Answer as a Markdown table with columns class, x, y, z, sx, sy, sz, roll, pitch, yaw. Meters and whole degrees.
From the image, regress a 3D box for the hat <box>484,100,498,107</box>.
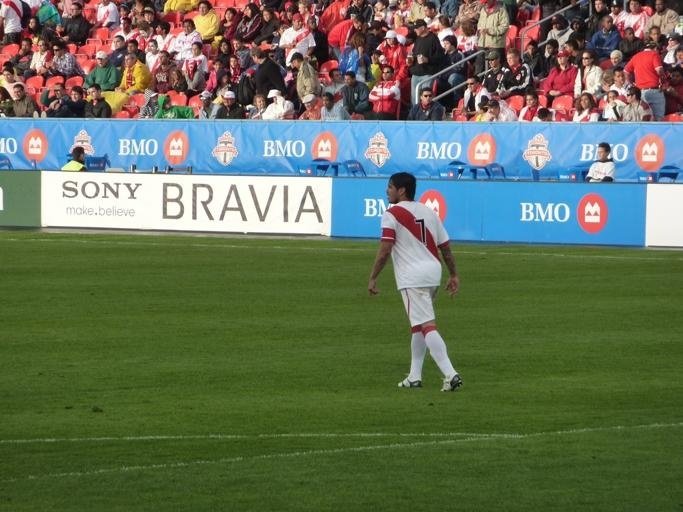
| class | x | y | z | sx | sy | sz | roll | pitch | yaw |
| --- | --- | --- | --- | --- | --- | --- | --- | --- | --- |
| hat | 3.488 | -3.536 | 43.531 | 0.368 | 0.190 | 0.168 | 1 | 4 | 45 |

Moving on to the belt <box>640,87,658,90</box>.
| class | x | y | z | sx | sy | sz | roll | pitch | yaw |
| --- | --- | --- | --- | --- | --- | --- | --- | --- | --- |
| belt | 7.164 | -3.867 | 43.164 | 0.418 | 0.075 | 0.152 | -2 | 3 | 6 |

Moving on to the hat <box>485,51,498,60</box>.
| class | x | y | z | sx | sy | sz | roll | pitch | yaw |
| --- | --- | --- | --- | --- | --- | --- | --- | --- | --- |
| hat | 3.633 | -4.823 | 45.110 | 0.260 | 0.137 | 0.198 | 8 | 4 | 34 |

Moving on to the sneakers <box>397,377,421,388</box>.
| class | x | y | z | sx | sy | sz | roll | pitch | yaw |
| --- | --- | --- | --- | --- | --- | --- | --- | --- | --- |
| sneakers | 1.107 | 2.101 | 30.848 | 0.411 | 0.179 | 0.151 | 2 | 1 | 9 |

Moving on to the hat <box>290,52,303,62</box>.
| class | x | y | z | sx | sy | sz | roll | pitch | yaw |
| --- | --- | --- | --- | --- | --- | --- | --- | --- | --- |
| hat | -1.136 | -4.825 | 45.458 | 0.200 | 0.149 | 0.265 | -6 | 7 | -41 |

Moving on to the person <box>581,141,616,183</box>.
| class | x | y | z | sx | sy | sz | roll | pitch | yaw |
| --- | --- | --- | --- | --- | --- | --- | --- | --- | --- |
| person | 5.792 | -1.937 | 41.877 | 0.722 | 1.180 | 0.681 | 8 | -7 | -22 |

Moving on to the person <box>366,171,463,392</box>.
| class | x | y | z | sx | sy | sz | roll | pitch | yaw |
| --- | --- | --- | --- | --- | --- | --- | --- | --- | --- |
| person | 1.233 | 0.441 | 30.779 | 1.369 | 3.608 | 0.728 | -2 | 2 | 2 |

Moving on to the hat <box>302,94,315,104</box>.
| class | x | y | z | sx | sy | sz | roll | pitch | yaw |
| --- | --- | --- | --- | --- | --- | --- | --- | --- | --- |
| hat | -0.854 | -3.798 | 45.328 | 0.322 | 0.230 | 0.217 | -1 | 3 | 9 |

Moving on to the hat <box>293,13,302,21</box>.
| class | x | y | z | sx | sy | sz | roll | pitch | yaw |
| --- | --- | --- | --- | --- | --- | --- | --- | --- | --- |
| hat | -1.186 | -6.037 | 47.309 | 0.166 | 0.171 | 0.211 | -5 | -1 | -39 |

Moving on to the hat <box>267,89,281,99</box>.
| class | x | y | z | sx | sy | sz | roll | pitch | yaw |
| --- | --- | --- | --- | --- | --- | --- | --- | --- | --- |
| hat | -1.725 | -3.935 | 45.561 | 0.361 | 0.230 | 0.315 | -1 | 3 | 10 |
